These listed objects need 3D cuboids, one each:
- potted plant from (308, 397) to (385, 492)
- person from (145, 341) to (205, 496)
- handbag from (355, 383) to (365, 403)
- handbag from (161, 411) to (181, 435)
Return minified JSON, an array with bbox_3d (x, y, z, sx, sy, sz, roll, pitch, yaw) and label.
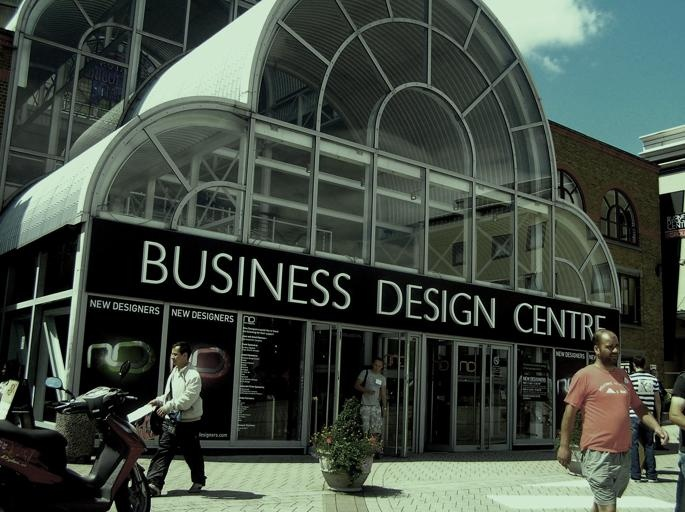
[{"bbox_3d":[0.203,3.043,11.830,1.288,1.643,1.294,0,-8,24],"label":"potted plant"},{"bbox_3d":[-2.448,2.373,10.601,0.789,2.159,0.784,3,-16,-9],"label":"person"},{"bbox_3d":[0.354,2.861,15.117,0.101,0.389,0.416,3,0,-8],"label":"handbag"},{"bbox_3d":[-2.519,2.415,10.465,0.236,0.311,0.075,1,-16,-2],"label":"handbag"}]
